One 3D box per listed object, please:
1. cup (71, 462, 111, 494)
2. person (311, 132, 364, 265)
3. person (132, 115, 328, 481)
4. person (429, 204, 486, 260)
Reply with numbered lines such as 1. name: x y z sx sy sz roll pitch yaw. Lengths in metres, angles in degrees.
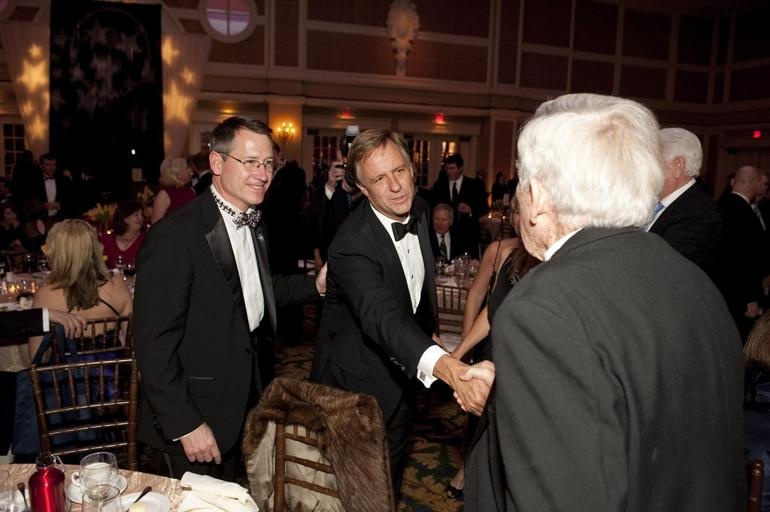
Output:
1. cup: -1.188 0.869 2.208 0.149 0.115 0.118 -2 4 -11
2. person: -0.292 -0.446 4.428 0.336 1.084 0.485 15 -6 -43
3. person: -0.794 0.212 2.733 0.367 1.804 0.859 5 6 43
4. person: 0.763 -0.246 6.207 0.511 0.762 0.239 -7 26 15
